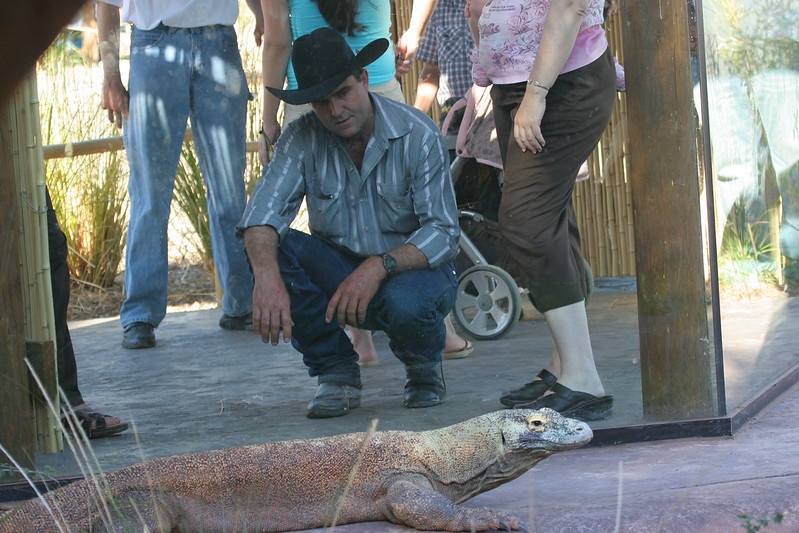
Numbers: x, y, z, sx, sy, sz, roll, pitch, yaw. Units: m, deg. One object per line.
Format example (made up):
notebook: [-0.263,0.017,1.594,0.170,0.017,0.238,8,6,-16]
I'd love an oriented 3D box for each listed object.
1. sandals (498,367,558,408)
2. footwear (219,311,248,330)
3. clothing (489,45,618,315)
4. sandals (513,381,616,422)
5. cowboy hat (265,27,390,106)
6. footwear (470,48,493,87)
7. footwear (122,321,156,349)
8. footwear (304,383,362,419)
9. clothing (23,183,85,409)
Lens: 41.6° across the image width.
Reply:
sandals: [0.570,0.530,4.606,0.278,0.146,0.113,-7,5,7]
footwear: [-0.979,0.320,6.303,0.130,0.059,0.088,-7,-5,42]
clothing: [0.653,-0.393,4.535,0.373,1.342,0.516,-6,19,-3]
sandals: [0.683,0.564,4.377,0.404,0.194,0.178,5,0,-2]
cowboy hat: [-0.314,-0.886,4.590,0.328,0.167,0.412,-32,14,13]
footwear: [0.362,-0.896,4.602,0.098,0.158,0.059,7,-15,28]
footwear: [-1.473,0.388,5.938,0.182,0.138,0.167,-11,14,-16]
footwear: [-0.289,0.580,4.620,0.103,0.118,0.239,-2,-2,23]
clothing: [-1.416,0.131,4.424,0.099,0.928,0.327,-7,11,-11]
